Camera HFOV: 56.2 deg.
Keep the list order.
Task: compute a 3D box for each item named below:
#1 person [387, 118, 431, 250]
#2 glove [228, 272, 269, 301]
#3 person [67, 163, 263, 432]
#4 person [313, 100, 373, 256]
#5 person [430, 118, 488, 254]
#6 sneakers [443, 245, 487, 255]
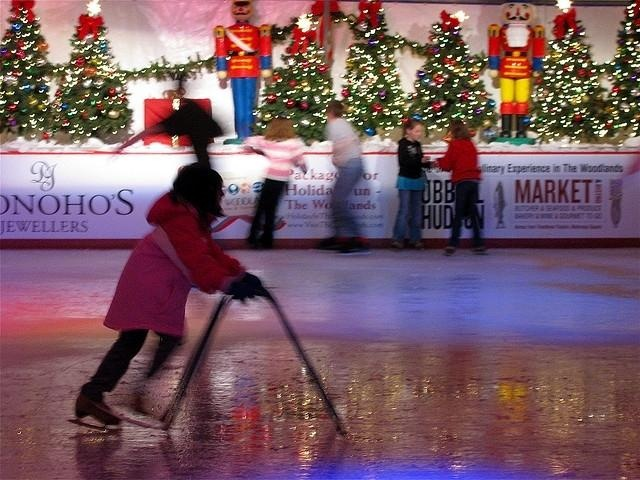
[{"bbox_3d":[1.511,-0.895,10.003,0.647,2.160,0.750,-2,10,6],"label":"person"},{"bbox_3d":[-0.328,0.230,2.893,0.190,0.052,0.171,-8,22,-33],"label":"glove"},{"bbox_3d":[-0.771,0.258,3.016,0.951,1.288,0.473,-4,10,-6],"label":"person"},{"bbox_3d":[0.311,-0.920,9.306,0.782,2.316,1.194,-2,10,4],"label":"person"},{"bbox_3d":[2.279,-0.830,9.604,0.725,2.114,0.942,-1,10,14],"label":"person"},{"bbox_3d":[2.359,0.169,9.741,0.768,0.141,0.125,-2,-23,0],"label":"sneakers"}]
